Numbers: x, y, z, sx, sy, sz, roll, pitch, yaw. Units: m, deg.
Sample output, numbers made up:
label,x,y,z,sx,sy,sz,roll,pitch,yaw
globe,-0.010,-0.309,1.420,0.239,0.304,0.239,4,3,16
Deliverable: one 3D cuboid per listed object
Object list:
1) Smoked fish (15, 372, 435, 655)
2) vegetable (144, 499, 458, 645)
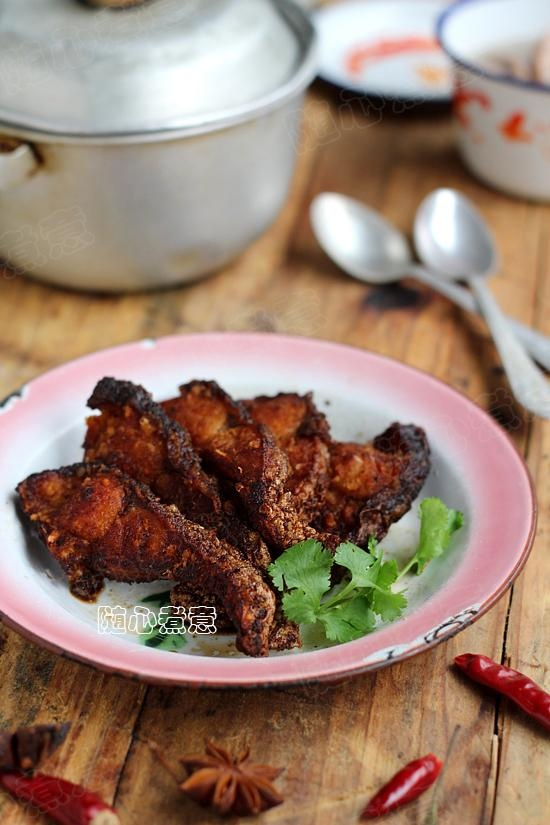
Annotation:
label,x,y,z,sx,sy,sz,roll,pitch,yaw
Smoked fish,-0.057,0.123,0.956,0.381,0.113,0.354,-1,37,-14
vegetable,0.061,0.146,0.835,0.272,0.061,0.146,-21,30,-20
